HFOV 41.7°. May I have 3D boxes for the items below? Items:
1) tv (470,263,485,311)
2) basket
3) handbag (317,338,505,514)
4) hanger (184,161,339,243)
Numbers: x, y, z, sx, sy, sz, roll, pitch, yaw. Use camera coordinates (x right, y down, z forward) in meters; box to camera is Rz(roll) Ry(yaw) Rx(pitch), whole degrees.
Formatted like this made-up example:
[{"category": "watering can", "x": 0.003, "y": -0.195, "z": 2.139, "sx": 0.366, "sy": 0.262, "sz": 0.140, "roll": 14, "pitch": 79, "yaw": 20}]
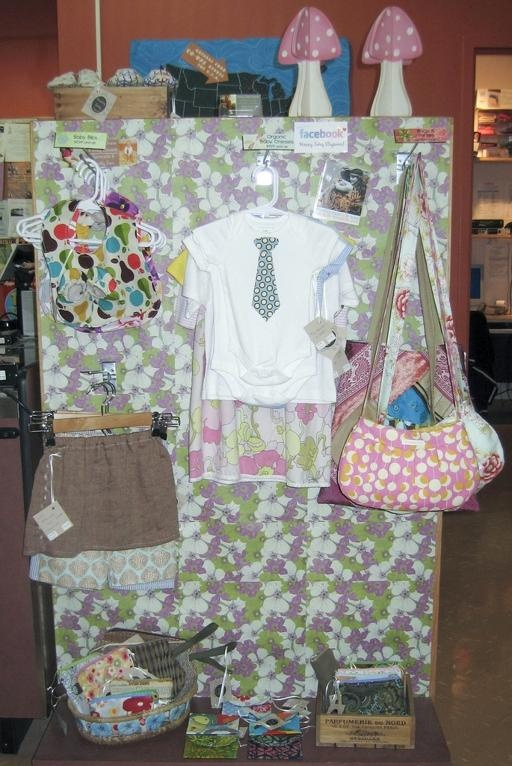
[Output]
[{"category": "tv", "x": 2.361, "y": -1.018, "z": 7.149, "sx": 0.131, "sy": 0.462, "sz": 0.178, "roll": 18, "pitch": 14, "yaw": 39}, {"category": "basket", "x": -0.341, "y": 0.888, "z": 1.928, "sx": 0.266, "sy": 0.116, "sz": 0.353, "roll": 13, "pitch": 19, "yaw": 43}, {"category": "handbag", "x": 0.379, "y": 0.110, "z": 1.829, "sx": 0.474, "sy": 0.474, "sz": 0.150, "roll": 0, "pitch": 8, "yaw": -10}, {"category": "hanger", "x": 0.027, "y": -0.514, "z": 1.880, "sx": 0.278, "sy": 0.195, "sz": 0.027, "roll": 1, "pitch": 4, "yaw": 11}]
